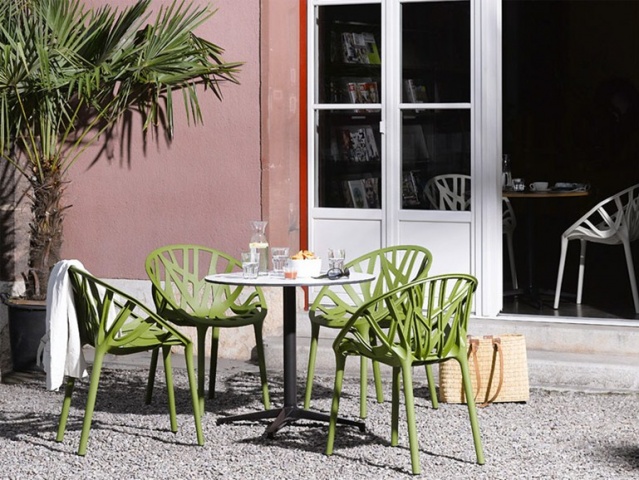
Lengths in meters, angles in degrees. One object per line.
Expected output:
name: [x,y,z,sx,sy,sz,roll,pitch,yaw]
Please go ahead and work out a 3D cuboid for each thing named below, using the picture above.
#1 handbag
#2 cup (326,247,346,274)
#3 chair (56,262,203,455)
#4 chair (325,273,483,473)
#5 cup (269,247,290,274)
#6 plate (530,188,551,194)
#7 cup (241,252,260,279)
handbag: [1.132,0.879,4.326,0.494,0.468,0.424,-1,3,0]
cup: [0.106,0.125,4.010,0.105,0.151,0.108,0,3,0]
chair: [-1.203,0.579,4.107,0.863,1.439,0.961,-1,3,-26]
chair: [0.577,0.522,3.859,0.927,1.442,0.866,-1,2,-38]
cup: [-0.248,0.128,4.104,0.122,0.183,0.138,-1,4,-14]
plate: [2.185,-0.476,6.377,0.182,0.033,0.676,2,7,19]
cup: [-0.418,0.156,3.876,0.108,0.212,0.129,-1,4,-14]
